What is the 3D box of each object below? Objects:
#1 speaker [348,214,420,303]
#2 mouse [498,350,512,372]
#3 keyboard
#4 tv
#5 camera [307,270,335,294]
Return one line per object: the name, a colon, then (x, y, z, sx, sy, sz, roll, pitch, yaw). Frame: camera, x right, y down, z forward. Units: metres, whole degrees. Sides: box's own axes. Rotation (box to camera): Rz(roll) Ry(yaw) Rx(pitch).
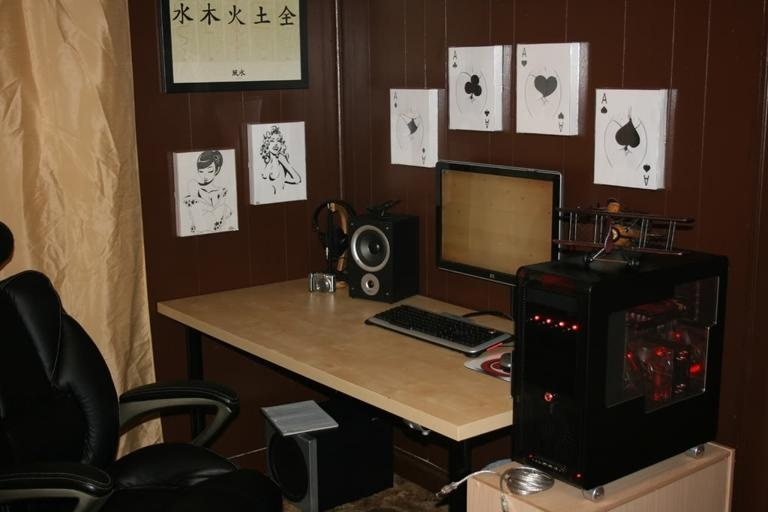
speaker: (0.011, 0.003, 3.141, 0.291, 0.452, 0.242, 10, 15, 37)
mouse: (0.446, 0.384, 2.335, 0.049, 0.057, 0.114, 2, 14, 11)
keyboard: (0.213, 0.328, 2.690, 0.619, 0.094, 0.294, 12, 28, 42)
tv: (0.527, -0.160, 2.785, 0.054, 0.438, 0.540, -9, 13, -43)
camera: (-0.317, 0.134, 3.241, 0.149, 0.117, 0.087, 7, 11, 40)
